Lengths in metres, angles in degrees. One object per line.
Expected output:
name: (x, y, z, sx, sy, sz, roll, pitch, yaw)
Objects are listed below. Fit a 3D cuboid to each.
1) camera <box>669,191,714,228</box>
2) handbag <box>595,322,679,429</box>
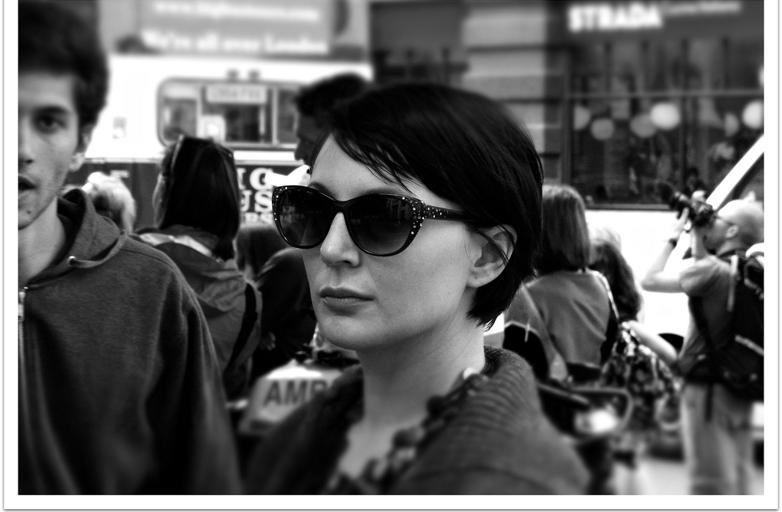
camera: (1.365, -0.207, 4.313, 0.094, 0.116, 0.197, -34, 56, -19)
handbag: (1.053, 0.499, 3.925, 0.236, 0.123, 0.346, -16, 47, -19)
